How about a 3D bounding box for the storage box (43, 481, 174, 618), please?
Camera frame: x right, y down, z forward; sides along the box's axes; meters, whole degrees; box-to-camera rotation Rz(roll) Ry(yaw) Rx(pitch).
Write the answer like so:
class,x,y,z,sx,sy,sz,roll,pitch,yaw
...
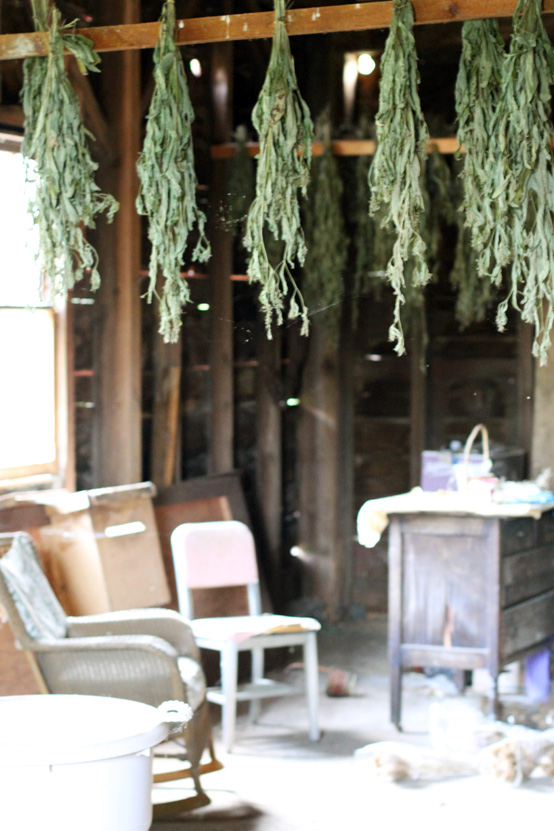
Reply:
class,x,y,z,sx,sy,sz,roll,pitch,yaw
storage box,-0.591,0.450,3.359,0.409,0.468,0.469,-9,-16,-21
